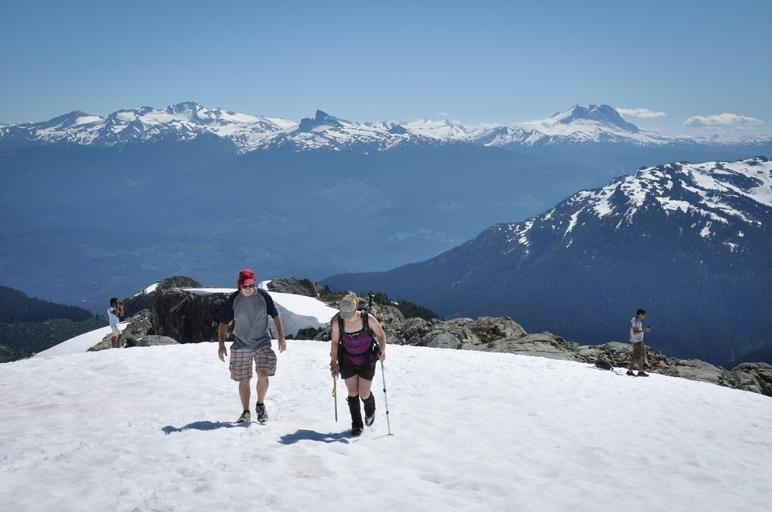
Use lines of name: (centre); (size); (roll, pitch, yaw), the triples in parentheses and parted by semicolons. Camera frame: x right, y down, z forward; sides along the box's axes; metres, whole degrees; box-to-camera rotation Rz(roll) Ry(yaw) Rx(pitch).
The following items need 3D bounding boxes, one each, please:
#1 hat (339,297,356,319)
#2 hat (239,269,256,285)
hat: (-1.526, 2.099, 24.827); (0.655, 0.869, 0.293); (1, -14, 11)
hat: (-5.837, 0.851, 25.719); (0.622, 0.729, 0.751); (0, 16, -16)
